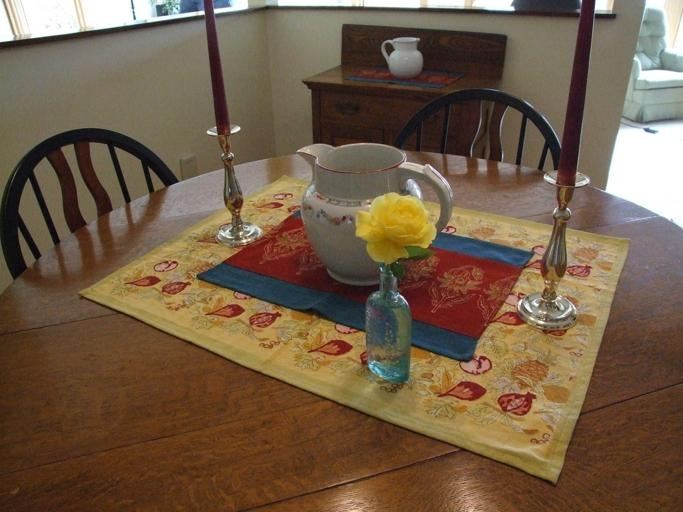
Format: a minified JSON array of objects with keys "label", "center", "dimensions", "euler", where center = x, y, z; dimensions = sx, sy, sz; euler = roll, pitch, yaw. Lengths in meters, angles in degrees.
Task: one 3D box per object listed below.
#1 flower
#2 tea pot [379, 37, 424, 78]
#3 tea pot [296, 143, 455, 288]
[{"label":"flower","center":[0.075,-0.034,0.683],"dimensions":[0.112,0.111,0.084],"euler":[9,5,6]},{"label":"tea pot","center":[0.308,-1.046,2.610],"dimensions":[0.251,0.216,0.194],"euler":[19,38,31]},{"label":"tea pot","center":[0.028,-0.098,1.079],"dimensions":[0.332,0.243,0.255],"euler":[18,36,24]}]
